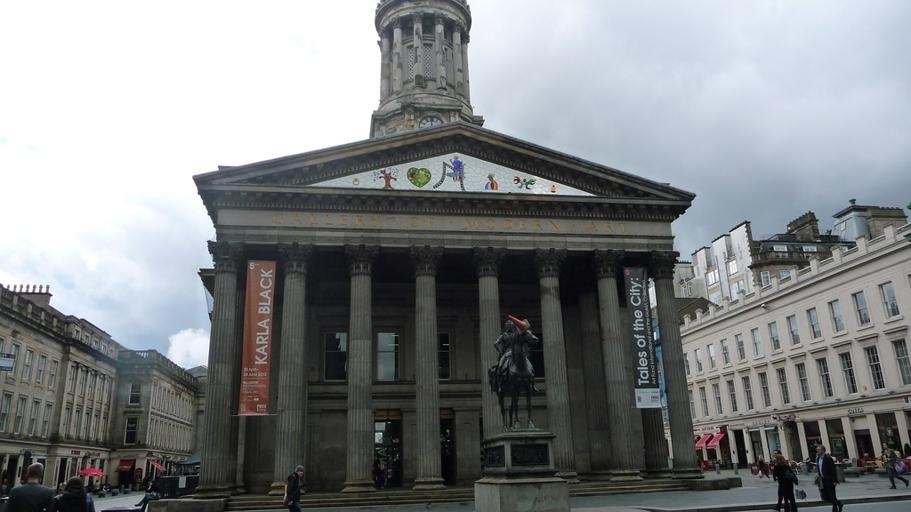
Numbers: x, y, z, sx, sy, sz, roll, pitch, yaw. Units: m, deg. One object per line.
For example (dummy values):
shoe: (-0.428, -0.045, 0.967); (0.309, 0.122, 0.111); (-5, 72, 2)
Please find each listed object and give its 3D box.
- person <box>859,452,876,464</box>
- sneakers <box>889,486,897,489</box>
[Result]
person: (36.865, 18.162, 60.790); (1.532, 0.866, 1.021); (3, -17, -7)
sneakers: (29.390, 15.602, 45.661); (0.477, 0.183, 0.142); (-7, -35, 30)
